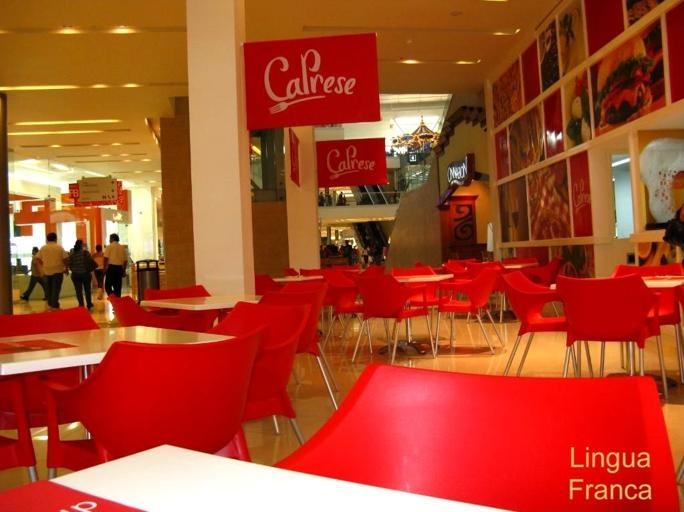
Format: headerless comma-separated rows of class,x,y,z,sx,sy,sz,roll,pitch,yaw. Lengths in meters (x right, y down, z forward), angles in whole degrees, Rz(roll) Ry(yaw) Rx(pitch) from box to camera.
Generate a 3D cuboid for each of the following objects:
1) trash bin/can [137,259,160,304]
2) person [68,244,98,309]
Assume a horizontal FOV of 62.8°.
trash bin/can,-4.382,0.622,12.754,0.633,1.033,0.639,-1,2,-3
person,-5.365,0.366,11.596,0.482,1.449,0.438,-4,13,-25
